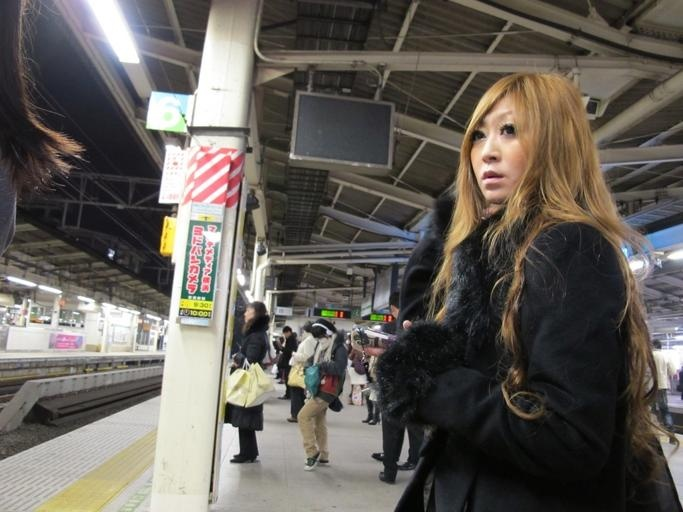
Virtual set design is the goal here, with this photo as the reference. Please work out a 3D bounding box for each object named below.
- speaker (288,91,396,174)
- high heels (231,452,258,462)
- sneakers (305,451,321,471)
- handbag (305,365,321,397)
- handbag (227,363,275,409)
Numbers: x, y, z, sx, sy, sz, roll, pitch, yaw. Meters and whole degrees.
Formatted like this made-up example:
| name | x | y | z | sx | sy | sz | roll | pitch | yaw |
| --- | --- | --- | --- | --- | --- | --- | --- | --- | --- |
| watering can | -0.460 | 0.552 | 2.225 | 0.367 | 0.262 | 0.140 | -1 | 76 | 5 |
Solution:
| name | x | y | z | sx | sy | sz | roll | pitch | yaw |
| --- | --- | --- | --- | --- | --- | --- | --- | --- | --- |
| speaker | 0.007 | -1.590 | 6.014 | 1.320 | 0.923 | 0.315 | 5 | -8 | -7 |
| high heels | -1.193 | 2.493 | 5.717 | 0.249 | 0.114 | 0.146 | 9 | -12 | -9 |
| sneakers | -0.337 | 2.461 | 5.694 | 0.120 | 0.105 | 0.286 | 21 | 26 | 0 |
| handbag | -0.356 | 1.597 | 5.943 | 0.149 | 0.375 | 0.237 | 5 | -12 | -4 |
| handbag | -1.086 | 1.529 | 5.505 | 0.517 | 0.460 | 0.200 | 7 | -12 | -19 |
